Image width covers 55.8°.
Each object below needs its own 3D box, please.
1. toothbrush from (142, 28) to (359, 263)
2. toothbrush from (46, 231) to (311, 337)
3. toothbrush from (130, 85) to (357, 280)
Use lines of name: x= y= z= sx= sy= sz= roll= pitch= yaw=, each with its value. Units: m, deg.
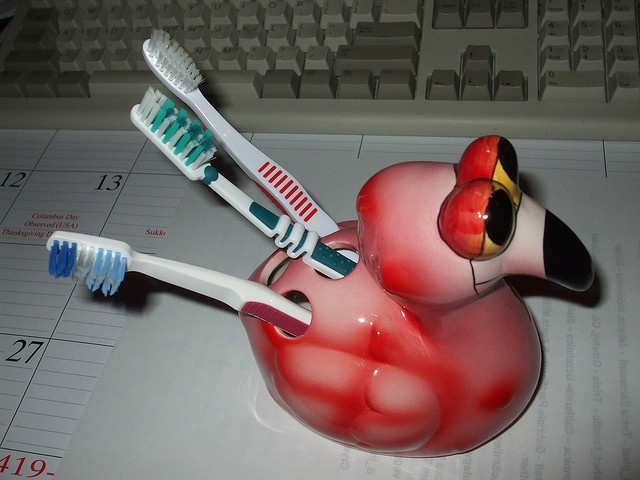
toothbrush: x=-0.073 y=-0.112 z=0.705 sx=0.040 sy=0.033 sz=0.369 roll=-41 pitch=100 yaw=-15
toothbrush: x=-0.150 y=0.052 z=0.635 sx=0.215 sy=0.045 sz=0.037 roll=19 pitch=40 yaw=-8
toothbrush: x=-0.078 y=-0.065 z=0.684 sx=0.277 sy=0.048 sz=0.047 roll=47 pitch=59 yaw=-2
